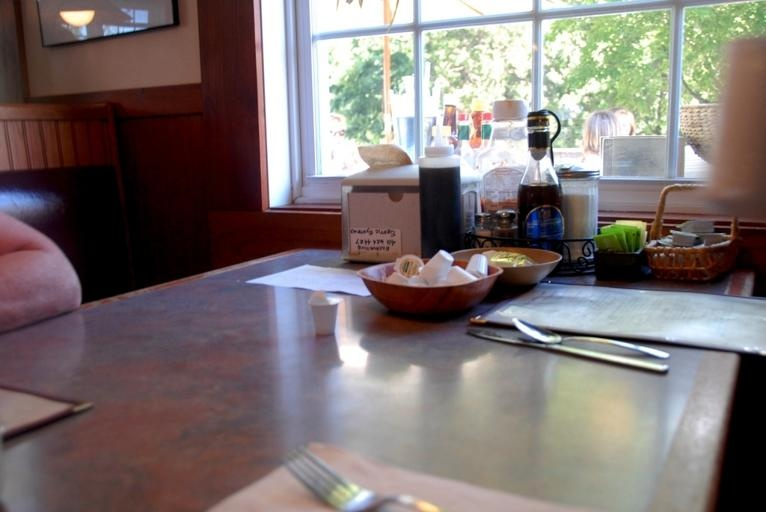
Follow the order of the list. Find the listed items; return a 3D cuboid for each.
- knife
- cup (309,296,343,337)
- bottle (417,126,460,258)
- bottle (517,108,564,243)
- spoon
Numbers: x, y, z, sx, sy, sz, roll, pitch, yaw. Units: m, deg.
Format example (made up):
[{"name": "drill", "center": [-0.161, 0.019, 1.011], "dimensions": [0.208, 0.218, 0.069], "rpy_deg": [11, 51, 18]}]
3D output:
[{"name": "knife", "center": [0.309, 0.156, 0.916], "dimensions": [0.241, 0.013, 0.025], "rpy_deg": [8, 35, 34]}, {"name": "cup", "center": [-0.091, 0.112, 1.063], "dimensions": [0.067, 0.077, 0.071], "rpy_deg": [-2, -2, 0]}, {"name": "bottle", "center": [0.148, -0.138, 1.435], "dimensions": [0.109, 0.273, 0.084], "rpy_deg": [-1, 14, 3]}, {"name": "bottle", "center": [0.404, -0.198, 1.427], "dimensions": [0.116, 0.330, 0.210], "rpy_deg": [1, 15, 13]}, {"name": "spoon", "center": [0.357, 0.141, 0.959], "dimensions": [0.176, 0.021, 0.033], "rpy_deg": [7, 17, 41]}]
